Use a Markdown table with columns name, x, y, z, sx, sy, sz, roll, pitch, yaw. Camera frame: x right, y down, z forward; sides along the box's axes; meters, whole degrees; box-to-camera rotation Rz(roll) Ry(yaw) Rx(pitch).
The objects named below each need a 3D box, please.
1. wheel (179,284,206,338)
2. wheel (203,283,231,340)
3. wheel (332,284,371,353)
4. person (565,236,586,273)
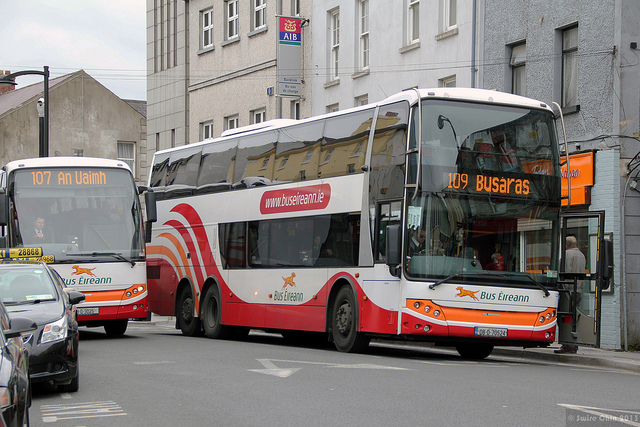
| name | x | y | z | sx | sy | sz | roll | pitch | yaw |
| --- | --- | --- | --- | --- | --- | --- | --- | --- | --- |
| wheel | -4.109 | 3.172 | 21.546 | 0.585 | 1.830 | 1.475 | 4 | -7 | -39 |
| wheel | -3.149 | 3.034 | 20.521 | 0.542 | 1.886 | 1.490 | 3 | -7 | -29 |
| wheel | 0.758 | 2.470 | 15.664 | 0.570 | 1.818 | 1.454 | 3 | -7 | -18 |
| person | 6.612 | 1.067 | 17.236 | 0.437 | 0.928 | 0.998 | -1 | -5 | 20 |
